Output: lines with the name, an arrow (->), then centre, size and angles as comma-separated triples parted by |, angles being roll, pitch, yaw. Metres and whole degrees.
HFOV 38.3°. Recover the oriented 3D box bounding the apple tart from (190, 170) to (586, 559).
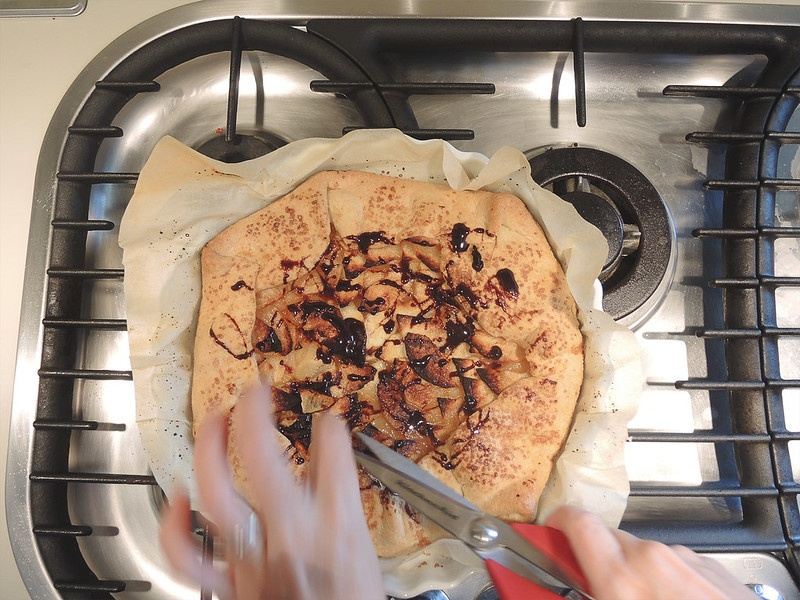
apple tart -> 0.015, 0.127, 2.423 | 0.833, 0.233, 0.731 | 32, 89, 6
